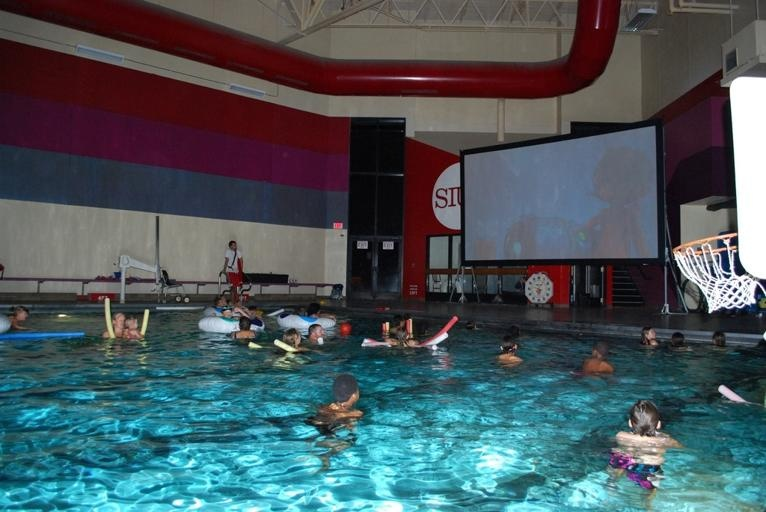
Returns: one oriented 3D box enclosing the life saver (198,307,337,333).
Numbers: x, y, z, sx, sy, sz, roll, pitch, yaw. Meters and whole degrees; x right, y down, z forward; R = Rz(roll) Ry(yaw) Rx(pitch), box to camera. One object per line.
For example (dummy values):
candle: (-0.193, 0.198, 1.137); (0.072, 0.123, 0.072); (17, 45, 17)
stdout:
life saver: (-2.460, 1.319, 10.847); (1.716, 0.277, 1.049); (1, 2, 6)

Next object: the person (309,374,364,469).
person: (-0.492, 1.847, 6.189); (0.577, 0.638, 1.274); (10, 8, -11)

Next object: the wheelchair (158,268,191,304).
wheelchair: (-5.765, 0.885, 14.942); (0.593, 0.741, 0.494); (-1, 1, -21)

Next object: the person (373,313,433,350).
person: (0.317, 1.373, 9.991); (0.815, 0.473, 1.337); (1, 9, 0)

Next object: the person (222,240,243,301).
person: (-4.069, 0.428, 14.901); (0.458, 1.679, 0.956); (-2, 8, -16)

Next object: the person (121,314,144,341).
person: (-4.599, 1.316, 10.045); (0.314, 0.755, 0.306); (-4, -10, -1)
